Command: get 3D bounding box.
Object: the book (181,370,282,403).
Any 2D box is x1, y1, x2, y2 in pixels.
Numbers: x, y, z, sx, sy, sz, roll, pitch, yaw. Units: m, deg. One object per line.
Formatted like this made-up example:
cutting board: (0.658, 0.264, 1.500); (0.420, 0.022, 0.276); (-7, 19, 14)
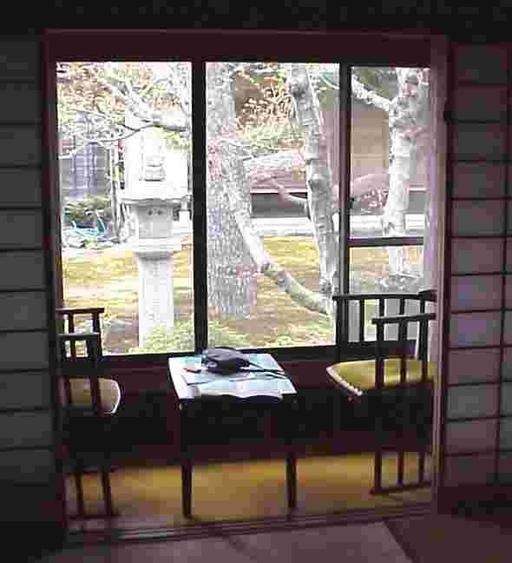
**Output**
book: (-0.087, 0.381, 3.241); (0.362, 0.060, 0.261); (-2, 7, -3)
